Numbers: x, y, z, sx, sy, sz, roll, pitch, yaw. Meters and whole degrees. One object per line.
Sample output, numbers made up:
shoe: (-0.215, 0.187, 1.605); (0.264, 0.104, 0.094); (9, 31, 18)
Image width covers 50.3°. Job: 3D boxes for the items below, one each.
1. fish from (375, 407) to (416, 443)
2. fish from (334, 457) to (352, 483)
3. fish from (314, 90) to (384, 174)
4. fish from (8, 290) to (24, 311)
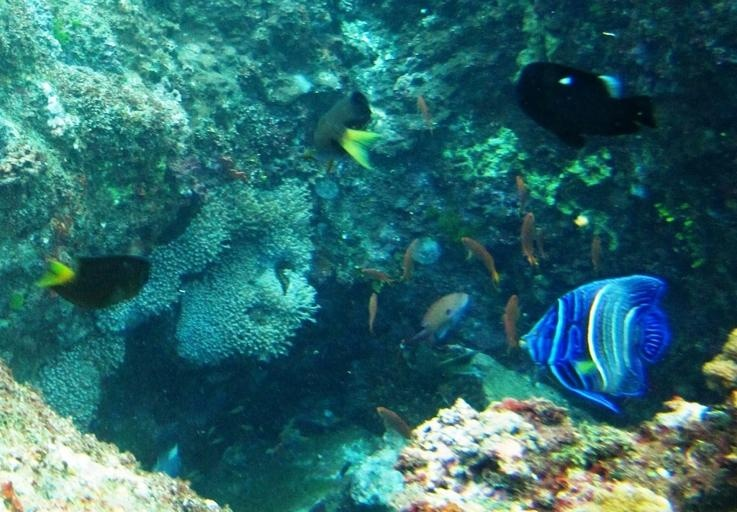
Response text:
fish: (0.352, 1.993, 9.203); (0.239, 0.212, 0.653); (16, -20, 34)
fish: (-0.304, 2.620, 9.576); (0.147, 0.133, 0.392); (-15, -25, -34)
fish: (-0.233, -1.254, 7.821); (0.719, 0.750, 0.341); (8, 12, 34)
fish: (-3.823, 0.494, 8.555); (0.045, 0.184, 0.144); (5, -6, 40)
